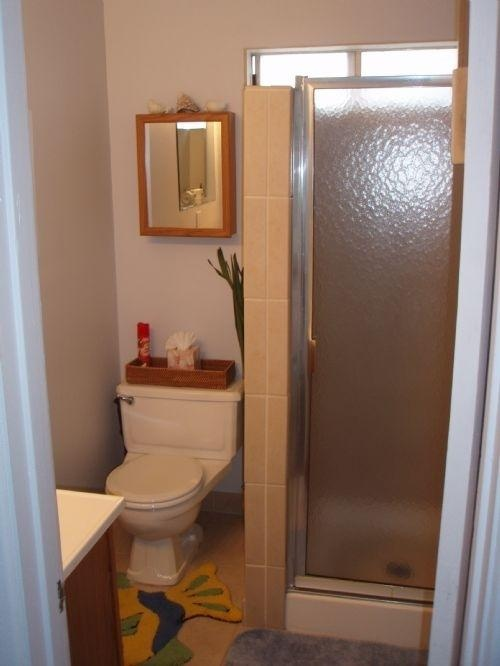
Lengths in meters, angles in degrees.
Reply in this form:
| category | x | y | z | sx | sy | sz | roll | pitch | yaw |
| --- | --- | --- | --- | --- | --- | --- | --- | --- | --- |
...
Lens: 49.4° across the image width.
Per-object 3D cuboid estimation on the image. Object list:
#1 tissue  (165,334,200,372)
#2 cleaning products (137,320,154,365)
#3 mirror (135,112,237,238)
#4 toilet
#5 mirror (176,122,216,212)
| category | x | y | z | sx | sy | sz | roll | pitch | yaw |
| --- | --- | --- | --- | --- | --- | --- | --- | --- | --- |
| tissue  | -0.283 | 0.089 | 2.474 | 0.130 | 0.240 | 0.144 | 0 | -1 | 3 |
| cleaning products | -0.493 | 0.053 | 2.536 | 0.053 | 0.200 | 0.125 | -3 | 13 | -11 |
| mirror | -0.263 | -0.699 | 2.344 | 0.391 | 0.626 | 0.077 | 4 | 20 | 12 |
| toilet | -0.299 | 0.618 | 2.229 | 0.545 | 0.519 | 0.540 | 1 | 3 | 12 |
| mirror | -0.192 | -0.713 | 2.360 | 0.155 | 0.034 | 0.459 | -2 | 59 | 0 |
